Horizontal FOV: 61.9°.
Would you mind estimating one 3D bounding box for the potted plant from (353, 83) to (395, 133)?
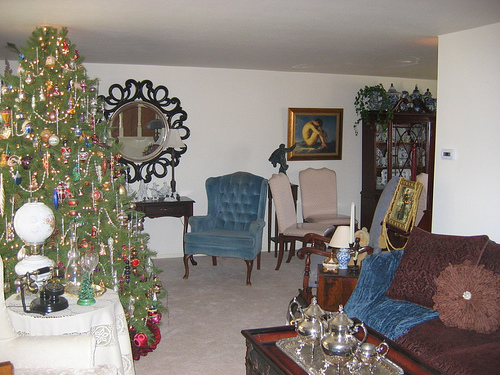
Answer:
[{"bbox_3d":[2.024,-1.268,6.836,0.335,0.758,0.744,-3,9,-21],"label":"potted plant"}]

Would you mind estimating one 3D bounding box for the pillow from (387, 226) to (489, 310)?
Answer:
[{"bbox_3d":[1.659,0.528,3.482,0.619,0.185,0.653,2,20,43],"label":"pillow"}]

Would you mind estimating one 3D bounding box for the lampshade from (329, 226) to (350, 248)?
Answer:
[{"bbox_3d":[0.827,0.455,3.824,0.168,0.122,0.186,2,0,1],"label":"lampshade"}]

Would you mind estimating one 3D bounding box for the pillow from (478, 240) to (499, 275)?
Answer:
[{"bbox_3d":[1.848,0.518,3.187,0.049,0.181,0.187,23,4,-32],"label":"pillow"}]

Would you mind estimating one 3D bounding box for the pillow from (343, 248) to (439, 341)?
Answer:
[{"bbox_3d":[1.081,0.885,3.543,0.689,0.850,0.650,3,4,-32],"label":"pillow"}]

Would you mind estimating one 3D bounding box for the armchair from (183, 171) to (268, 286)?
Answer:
[{"bbox_3d":[-0.332,0.504,5.713,1.070,1.330,1.091,1,8,7],"label":"armchair"}]

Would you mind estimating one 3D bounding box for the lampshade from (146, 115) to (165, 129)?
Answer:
[{"bbox_3d":[-1.438,-0.972,6.319,0.202,0.235,0.212,3,4,33],"label":"lampshade"}]

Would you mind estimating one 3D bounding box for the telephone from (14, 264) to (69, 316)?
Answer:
[{"bbox_3d":[-1.428,0.667,2.809,0.291,0.200,0.174,12,2,8],"label":"telephone"}]

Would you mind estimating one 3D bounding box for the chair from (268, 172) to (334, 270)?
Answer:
[{"bbox_3d":[0.725,0.536,6.089,0.783,1.292,0.727,2,2,31],"label":"chair"}]

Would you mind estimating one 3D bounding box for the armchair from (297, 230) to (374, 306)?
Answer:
[{"bbox_3d":[0.733,0.863,4.191,0.517,0.636,0.384,0,-12,-7],"label":"armchair"}]

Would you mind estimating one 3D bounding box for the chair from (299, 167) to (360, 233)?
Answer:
[{"bbox_3d":[1.205,0.377,6.473,0.741,1.314,0.797,-2,2,-13],"label":"chair"}]

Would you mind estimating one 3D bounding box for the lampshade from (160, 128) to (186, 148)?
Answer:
[{"bbox_3d":[-1.121,-0.716,6.049,0.266,0.196,0.267,-2,10,-18],"label":"lampshade"}]

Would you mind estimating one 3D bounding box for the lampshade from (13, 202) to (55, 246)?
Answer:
[{"bbox_3d":[-1.574,0.259,3.026,0.277,0.340,0.287,0,6,3],"label":"lampshade"}]

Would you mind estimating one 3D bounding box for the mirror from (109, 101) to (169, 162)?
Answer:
[{"bbox_3d":[-1.634,-0.834,6.008,0.993,1.064,0.046,7,1,-17],"label":"mirror"}]

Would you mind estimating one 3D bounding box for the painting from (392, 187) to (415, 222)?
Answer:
[{"bbox_3d":[1.564,0.168,4.238,0.123,0.321,0.179,-3,9,-19],"label":"painting"}]

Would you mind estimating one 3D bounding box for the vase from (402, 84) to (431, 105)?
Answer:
[{"bbox_3d":[2.759,-1.454,6.828,0.368,0.235,0.375,-1,3,-3],"label":"vase"}]

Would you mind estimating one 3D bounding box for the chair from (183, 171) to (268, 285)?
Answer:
[{"bbox_3d":[-0.278,0.522,5.646,1.246,1.456,1.195,0,4,-38],"label":"chair"}]

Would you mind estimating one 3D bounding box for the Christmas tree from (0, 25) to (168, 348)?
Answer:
[{"bbox_3d":[-1.427,0.072,3.502,1.216,2.752,0.547,-4,10,-27],"label":"Christmas tree"}]
